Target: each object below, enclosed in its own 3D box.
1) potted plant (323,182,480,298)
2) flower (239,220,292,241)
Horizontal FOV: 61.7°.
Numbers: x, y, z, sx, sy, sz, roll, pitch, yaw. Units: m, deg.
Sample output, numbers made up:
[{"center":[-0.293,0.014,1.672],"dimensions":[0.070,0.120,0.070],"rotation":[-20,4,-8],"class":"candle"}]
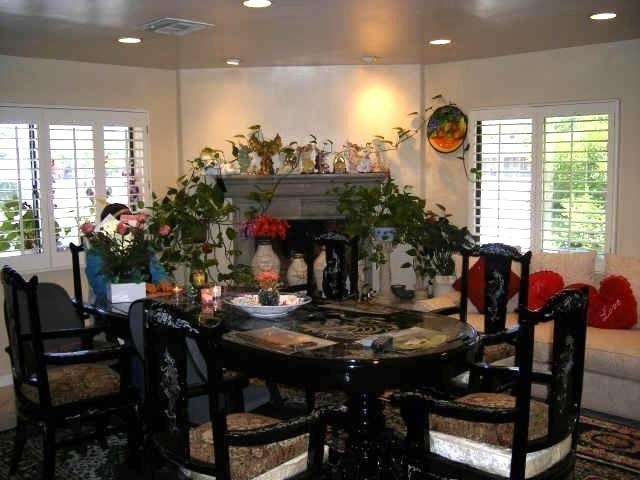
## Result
[{"center":[0.767,-0.105,5.128],"dimensions":[1.166,0.797,0.994],"rotation":[6,1,8],"class":"potted plant"},{"center":[-0.493,-0.115,4.723],"dimensions":[0.248,0.134,0.243],"rotation":[-4,6,-42],"class":"flower"}]
